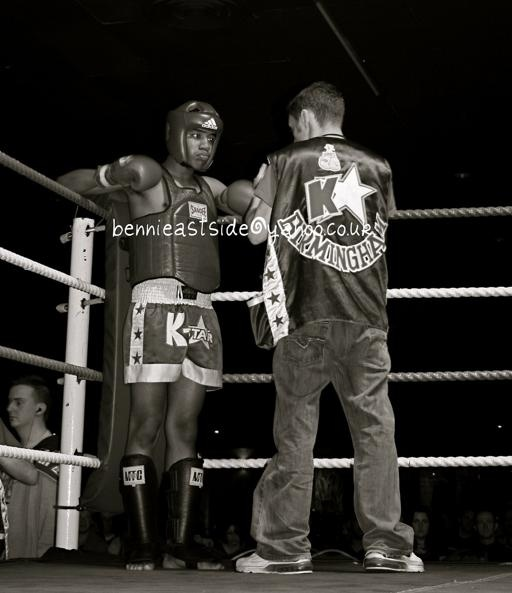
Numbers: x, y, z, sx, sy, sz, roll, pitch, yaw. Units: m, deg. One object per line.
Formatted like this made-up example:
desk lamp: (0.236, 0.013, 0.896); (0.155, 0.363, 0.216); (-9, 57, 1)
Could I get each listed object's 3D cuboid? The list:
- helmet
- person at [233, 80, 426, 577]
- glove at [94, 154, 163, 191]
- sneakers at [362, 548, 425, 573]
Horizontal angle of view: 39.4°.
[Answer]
helmet: (-0.215, -0.518, 2.467); (0.189, 0.257, 0.220); (6, -10, -38)
person: (0.189, 0.036, 1.834); (0.444, 1.278, 0.235); (2, -8, -3)
glove: (-0.394, -0.373, 2.208); (0.174, 0.114, 0.073); (-2, -16, 33)
sneakers: (0.317, 0.616, 1.685); (0.153, 0.075, 0.060); (8, -22, -21)
